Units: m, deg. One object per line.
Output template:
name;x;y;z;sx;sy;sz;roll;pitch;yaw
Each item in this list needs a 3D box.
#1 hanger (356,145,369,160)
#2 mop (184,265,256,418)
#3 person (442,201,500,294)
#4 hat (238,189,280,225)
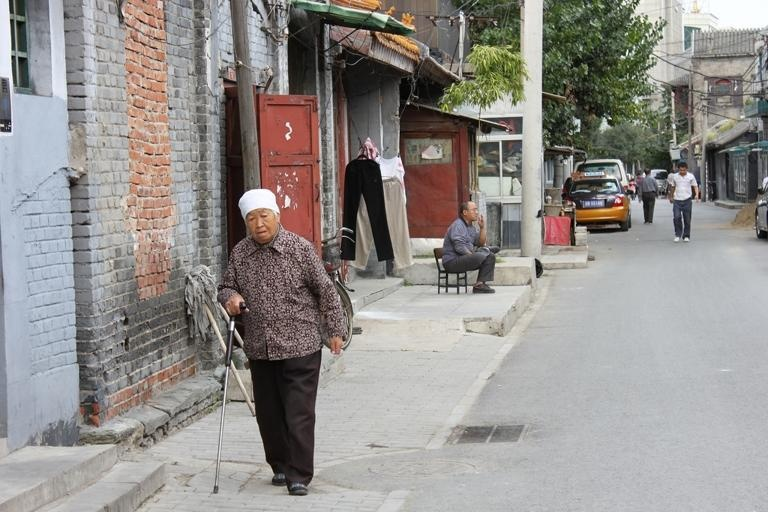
hanger;-0.383;-1.864;15.281;0.174;0.230;0.188;-2;7;5
mop;-1.770;0.940;9.094;0.473;1.611;0.413;-7;-21;-40
person;1.752;-0.144;16.434;0.925;1.763;1.005;-1;1;-44
hat;-1.109;-0.428;7.542;0.269;0.216;0.292;-12;0;-3
